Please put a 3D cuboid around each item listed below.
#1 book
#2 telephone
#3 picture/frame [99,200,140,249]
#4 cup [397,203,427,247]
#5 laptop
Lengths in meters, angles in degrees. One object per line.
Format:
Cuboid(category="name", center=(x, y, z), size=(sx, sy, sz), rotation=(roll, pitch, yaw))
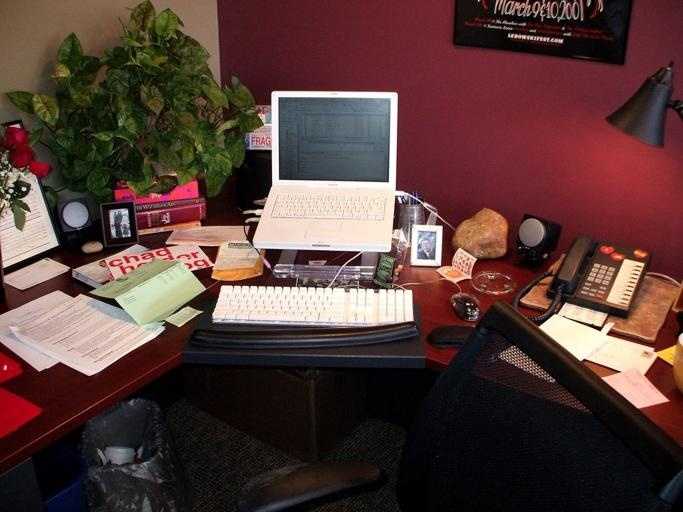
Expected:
Cuboid(category="book", center=(-0.711, -0.235, 1.984), size=(0.229, 0.150, 0.233), rotation=(24, 39, 35))
Cuboid(category="telephone", center=(0.764, 0.074, 1.570), size=(0.421, 0.089, 0.300), rotation=(-32, 37, -22))
Cuboid(category="picture/frame", center=(-0.826, -0.117, 1.880), size=(0.147, 0.199, 0.022), rotation=(-11, 15, -34))
Cuboid(category="cup", center=(0.254, -0.125, 1.922), size=(0.139, 0.144, 0.100), rotation=(-4, 11, -40))
Cuboid(category="laptop", center=(-0.029, -0.321, 1.820), size=(0.526, 0.397, 0.585), rotation=(4, 49, 4))
